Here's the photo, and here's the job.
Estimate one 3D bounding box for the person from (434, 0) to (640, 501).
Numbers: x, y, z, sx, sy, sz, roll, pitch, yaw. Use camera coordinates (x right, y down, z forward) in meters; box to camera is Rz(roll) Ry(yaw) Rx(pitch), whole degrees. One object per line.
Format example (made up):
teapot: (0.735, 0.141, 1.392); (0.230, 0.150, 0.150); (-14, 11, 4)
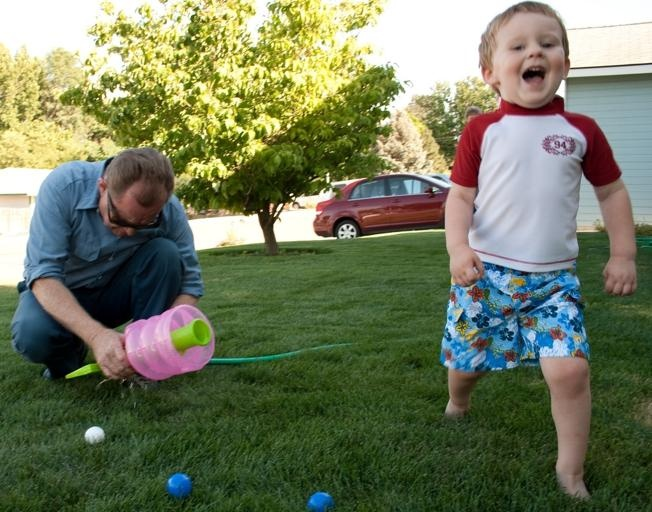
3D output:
person: (0.691, -0.087, 1.587); (0.559, 1.542, 0.543); (-11, 8, -43)

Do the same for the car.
car: (1.260, -1.124, 10.932); (3.100, 0.923, 1.278); (-8, -3, 22)

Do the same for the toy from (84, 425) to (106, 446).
toy: (-0.844, 0.652, 1.699); (0.056, 0.053, 0.057); (-40, 12, -32)
